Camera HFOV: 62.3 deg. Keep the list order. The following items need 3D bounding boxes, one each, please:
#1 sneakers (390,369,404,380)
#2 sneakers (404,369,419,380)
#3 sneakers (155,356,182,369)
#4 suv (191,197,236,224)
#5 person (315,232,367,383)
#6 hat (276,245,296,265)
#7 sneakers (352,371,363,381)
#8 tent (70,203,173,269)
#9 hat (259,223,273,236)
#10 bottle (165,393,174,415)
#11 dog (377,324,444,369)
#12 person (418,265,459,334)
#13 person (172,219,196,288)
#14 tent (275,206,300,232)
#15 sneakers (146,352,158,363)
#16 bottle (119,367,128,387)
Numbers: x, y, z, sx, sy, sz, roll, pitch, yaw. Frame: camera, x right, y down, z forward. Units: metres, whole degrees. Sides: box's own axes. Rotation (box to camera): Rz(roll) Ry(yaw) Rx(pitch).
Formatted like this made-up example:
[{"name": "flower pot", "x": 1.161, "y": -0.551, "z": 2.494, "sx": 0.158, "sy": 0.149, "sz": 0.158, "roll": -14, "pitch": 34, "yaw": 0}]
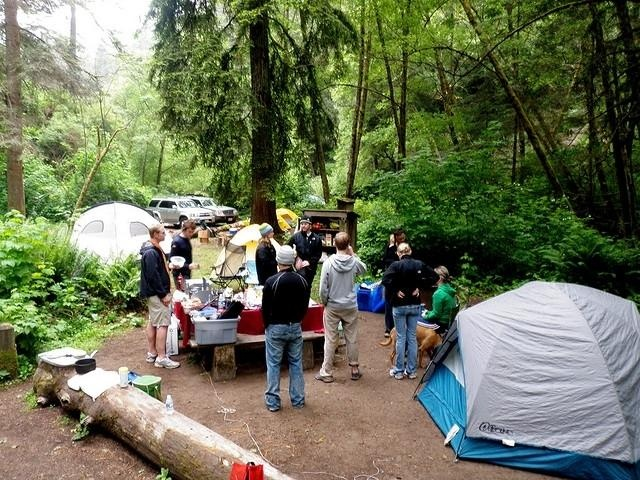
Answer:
[{"name": "sneakers", "x": 1.382, "y": 2.396, "z": 9.442, "sx": 0.119, "sy": 0.134, "sz": 0.253, "roll": 2, "pitch": 6, "yaw": 2}, {"name": "sneakers", "x": 1.621, "y": 2.402, "z": 9.384, "sx": 0.130, "sy": 0.155, "sz": 0.314, "roll": 0, "pitch": -8, "yaw": -1}, {"name": "sneakers", "x": -2.720, "y": 2.206, "z": 9.521, "sx": 0.442, "sy": 0.224, "sz": 0.186, "roll": 3, "pitch": 2, "yaw": -10}, {"name": "suv", "x": -5.310, "y": -1.562, "z": 26.426, "sx": 1.255, "sy": 1.249, "sz": 2.609, "roll": -8, "pitch": 13, "yaw": -42}, {"name": "person", "x": 0.398, "y": 1.178, "z": 9.231, "sx": 0.824, "sy": 1.985, "sz": 0.687, "roll": -1, "pitch": 0, "yaw": 1}, {"name": "hat", "x": -0.539, "y": 0.219, "z": 8.452, "sx": 0.259, "sy": 0.242, "sz": 0.287, "roll": 8, "pitch": 7, "yaw": -11}, {"name": "sneakers", "x": 0.649, "y": 2.395, "z": 9.266, "sx": 0.123, "sy": 0.155, "sz": 0.365, "roll": -1, "pitch": -5, "yaw": 7}, {"name": "tent", "x": -5.389, "y": -0.642, "z": 14.605, "sx": 1.715, "sy": 0.811, "sz": 1.886, "roll": -23, "pitch": -23, "yaw": -1}, {"name": "hat", "x": -1.021, "y": -0.166, "z": 10.045, "sx": 0.207, "sy": 0.176, "sz": 0.220, "roll": -23, "pitch": 23, "yaw": 29}, {"name": "bottle", "x": -2.152, "y": 2.349, "z": 7.578, "sx": 0.118, "sy": 0.255, "sz": 0.268, "roll": -1, "pitch": 0, "yaw": -18}, {"name": "dog", "x": 1.744, "y": 1.985, "z": 9.769, "sx": 1.169, "sy": 0.814, "sz": 0.355, "roll": 5, "pitch": -15, "yaw": 22}, {"name": "person", "x": 2.204, "y": 1.272, "z": 10.055, "sx": 0.592, "sy": 1.424, "sz": 0.812, "roll": 4, "pitch": -3, "yaw": -39}, {"name": "person", "x": -2.986, "y": 0.347, "z": 11.715, "sx": 0.567, "sy": 0.717, "sz": 1.947, "roll": 12, "pitch": -36, "yaw": -8}, {"name": "tent", "x": -1.409, "y": -0.901, "z": 22.713, "sx": 0.893, "sy": 0.540, "sz": 1.388, "roll": -14, "pitch": 11, "yaw": -14}, {"name": "sneakers", "x": -3.064, "y": 2.154, "z": 9.645, "sx": 0.095, "sy": 0.132, "sz": 0.265, "roll": 1, "pitch": -5, "yaw": 8}, {"name": "bottle", "x": -2.972, "y": 2.081, "z": 8.041, "sx": 0.136, "sy": 0.300, "sz": 0.223, "roll": -1, "pitch": 0, "yaw": -24}]
